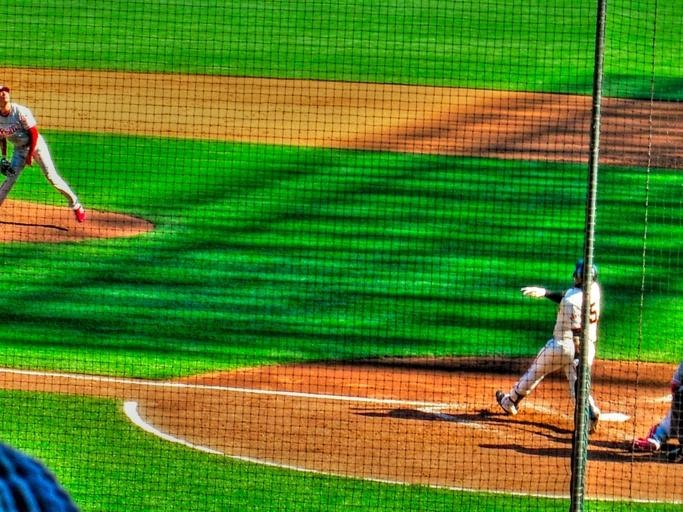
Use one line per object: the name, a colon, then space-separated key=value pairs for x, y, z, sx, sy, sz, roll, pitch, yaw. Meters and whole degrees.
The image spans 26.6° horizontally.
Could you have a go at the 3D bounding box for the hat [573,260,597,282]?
hat: x=3.487 y=0.215 z=21.253 sx=0.389 sy=0.386 sz=0.390 roll=4 pitch=0 yaw=-3

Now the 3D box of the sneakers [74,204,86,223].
sneakers: x=-4.690 y=-0.775 z=26.147 sx=0.184 sy=0.148 sz=0.341 roll=-15 pitch=48 yaw=2

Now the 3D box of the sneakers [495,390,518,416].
sneakers: x=2.482 y=2.231 z=21.894 sx=0.184 sy=0.213 sz=0.510 roll=4 pitch=26 yaw=-19

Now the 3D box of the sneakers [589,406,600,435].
sneakers: x=3.713 y=2.453 z=21.484 sx=0.183 sy=0.420 sz=0.140 roll=3 pitch=11 yaw=41
